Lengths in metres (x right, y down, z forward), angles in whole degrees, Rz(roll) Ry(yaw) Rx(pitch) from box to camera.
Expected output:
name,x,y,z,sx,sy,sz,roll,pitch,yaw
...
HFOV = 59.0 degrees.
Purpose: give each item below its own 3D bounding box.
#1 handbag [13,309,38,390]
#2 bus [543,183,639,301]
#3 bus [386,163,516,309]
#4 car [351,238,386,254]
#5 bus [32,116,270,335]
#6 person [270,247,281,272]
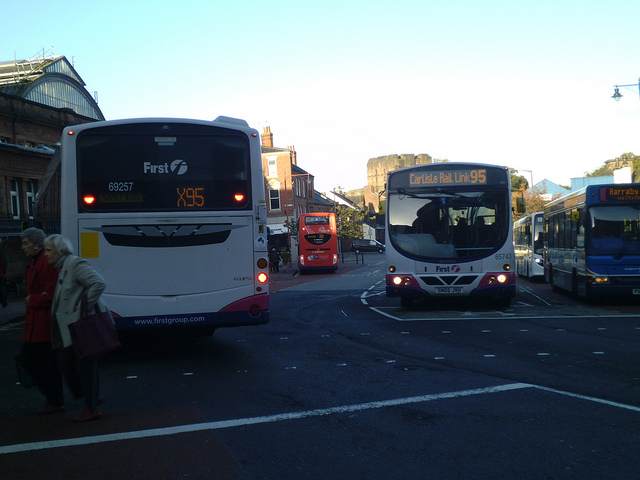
name,x,y,z,sx,sy,sz,roll,pitch,yaw
handbag,-3.580,1.344,7.066,0.265,1.002,0.332,4,1,31
bus,8.191,0.051,18.310,1.742,2.097,5.179,0,-2,5
bus,3.627,-0.328,17.786,2.285,2.710,6.143,-1,2,6
car,6.671,0.708,77.602,4.064,1.831,2.335,-3,2,0
bus,-3.264,-0.466,12.037,2.435,2.810,5.986,-1,4,-15
person,-3.311,1.428,41.330,0.654,1.639,2.685,-1,1,-5
